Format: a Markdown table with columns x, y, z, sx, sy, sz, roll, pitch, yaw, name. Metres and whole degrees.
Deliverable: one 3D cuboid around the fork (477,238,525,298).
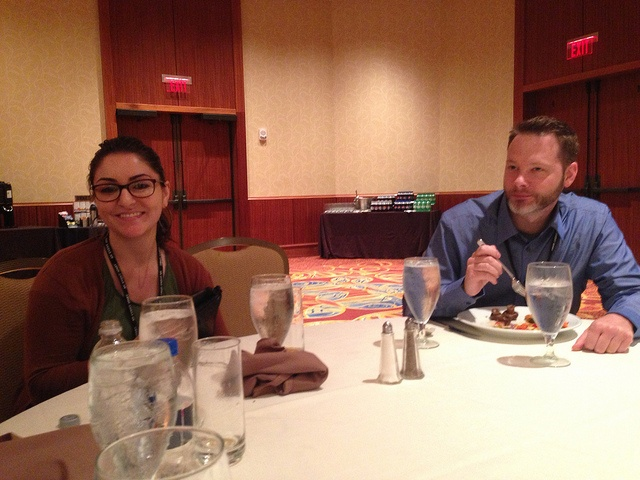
| x | y | z | sx | sy | sz | roll | pitch | yaw | name |
| --- | --- | --- | --- | --- | --- | --- | --- | --- | --- |
| 0.649 | 0.108 | 1.566 | 0.043 | 0.259 | 0.038 | -39 | 15 | -8 | fork |
